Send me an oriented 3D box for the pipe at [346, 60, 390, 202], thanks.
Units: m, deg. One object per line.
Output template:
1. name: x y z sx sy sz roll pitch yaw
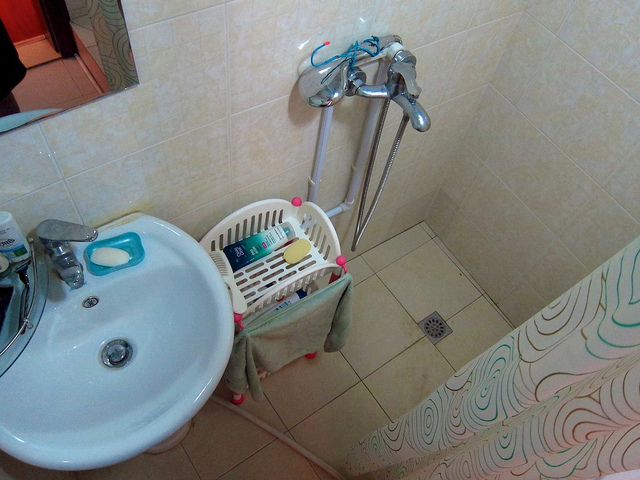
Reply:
1. pipe: 0.130 -0.339 1.699 0.057 0.553 0.052 22 40 6

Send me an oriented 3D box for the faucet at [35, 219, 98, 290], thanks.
1. faucet: -0.607 0.049 1.185 0.141 0.163 0.069 10 36 17

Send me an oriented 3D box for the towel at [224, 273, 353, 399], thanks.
1. towel: -0.117 0.334 1.680 0.451 0.452 0.166 -31 68 -21

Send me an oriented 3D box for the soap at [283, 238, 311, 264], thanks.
1. soap: -0.076 0.037 1.628 0.101 0.020 0.059 -32 67 -23

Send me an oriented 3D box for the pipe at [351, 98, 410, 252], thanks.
1. pipe: 0.193 -0.205 1.664 0.046 0.531 0.137 20 37 -2
